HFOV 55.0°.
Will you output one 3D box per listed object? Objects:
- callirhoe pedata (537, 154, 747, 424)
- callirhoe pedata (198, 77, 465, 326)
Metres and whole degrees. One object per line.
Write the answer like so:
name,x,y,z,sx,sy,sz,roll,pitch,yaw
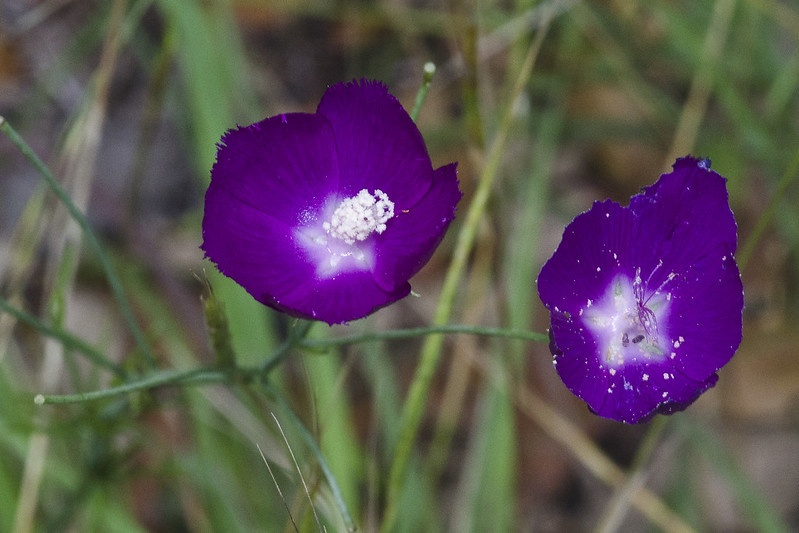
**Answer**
callirhoe pedata,0.346,0.046,1.058,0.327,0.124,0.294,-26,79,-3
callirhoe pedata,-0.106,-0.090,1.090,0.316,0.126,0.347,42,83,9
